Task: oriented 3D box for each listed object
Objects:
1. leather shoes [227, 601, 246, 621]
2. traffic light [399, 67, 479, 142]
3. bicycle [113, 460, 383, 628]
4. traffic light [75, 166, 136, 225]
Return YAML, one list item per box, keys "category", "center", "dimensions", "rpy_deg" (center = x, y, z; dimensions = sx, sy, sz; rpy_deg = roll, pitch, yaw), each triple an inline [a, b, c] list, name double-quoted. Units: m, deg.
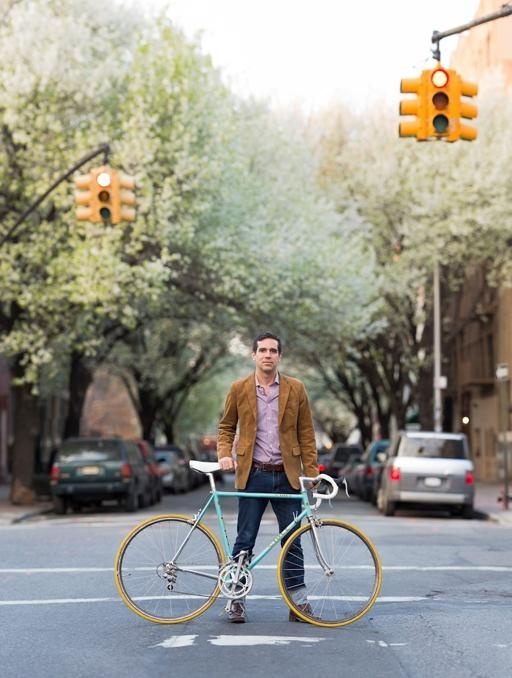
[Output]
- category: "leather shoes"
  center: [-0.122, 1.781, 7.762]
  dimensions: [0.068, 0.094, 0.219]
  rpy_deg: [-1, -25, -2]
- category: "traffic light"
  center: [2.046, -2.557, 13.024]
  dimensions: [0.811, 0.874, 0.523]
  rpy_deg: [0, 1, 5]
- category: "bicycle"
  center: [-0.061, 1.339, 7.676]
  dimensions: [1.696, 1.201, 0.472]
  rpy_deg: [-6, 3, 10]
- category: "traffic light"
  center: [-2.043, -1.891, 15.910]
  dimensions: [0.777, 0.795, 0.804]
  rpy_deg: [-7, 4, -27]
